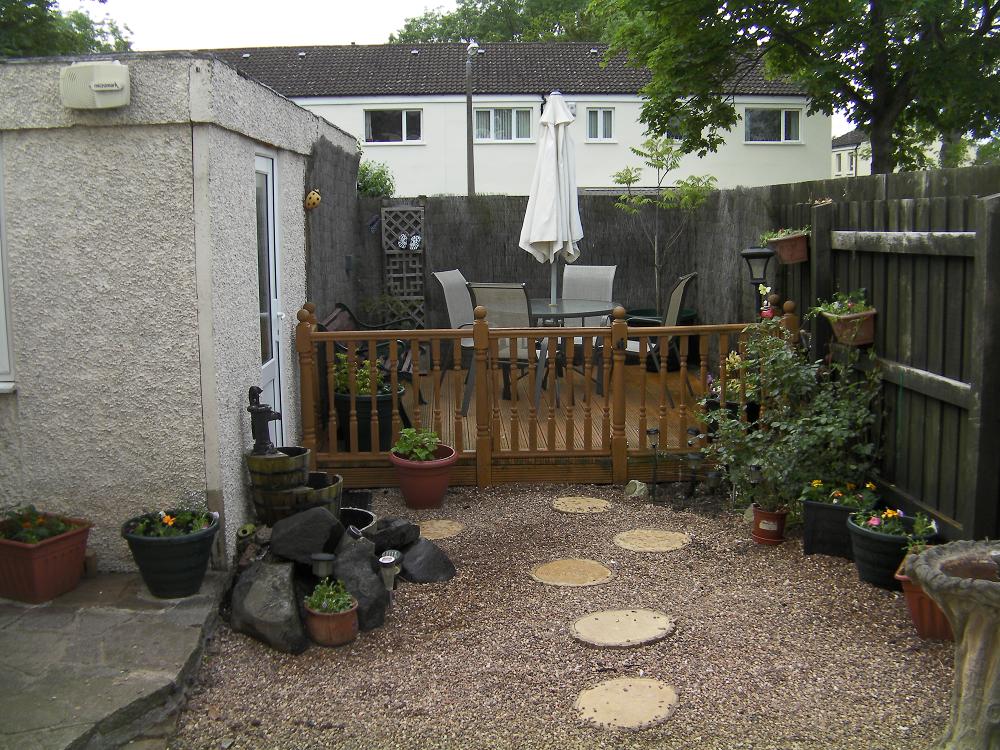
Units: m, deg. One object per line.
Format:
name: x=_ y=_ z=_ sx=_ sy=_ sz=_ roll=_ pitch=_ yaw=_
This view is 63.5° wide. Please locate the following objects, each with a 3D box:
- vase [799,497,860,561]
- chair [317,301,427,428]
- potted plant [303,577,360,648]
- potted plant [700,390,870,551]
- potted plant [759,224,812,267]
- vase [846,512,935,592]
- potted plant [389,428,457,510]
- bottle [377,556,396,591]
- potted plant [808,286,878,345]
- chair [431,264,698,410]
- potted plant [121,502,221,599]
vase: x=1.987 y=0.944 z=4.932 sx=0.389 sy=0.404 sz=0.280 roll=0 pitch=3 yaw=16
chair: x=-1.177 y=-0.064 z=7.298 sx=0.531 sy=0.596 sz=1.302 roll=-5 pitch=17 yaw=-3
potted plant: x=-0.845 y=1.205 z=4.144 sx=0.267 sy=0.309 sz=0.276 roll=-1 pitch=-2 yaw=-5
potted plant: x=1.914 y=0.513 z=5.404 sx=0.991 sy=1.101 sz=0.906 roll=0 pitch=9 yaw=21
potted plant: x=2.121 y=-0.961 z=5.993 sx=0.273 sy=0.193 sz=0.281 roll=-3 pitch=8 yaw=23
vase: x=2.164 y=0.939 z=4.485 sx=0.397 sy=0.318 sz=0.404 roll=0 pitch=3 yaw=36
potted plant: x=-0.582 y=0.708 z=6.223 sx=0.522 sy=0.630 sz=0.546 roll=0 pitch=0 yaw=-4
bottle: x=-0.646 y=1.146 z=4.680 sx=0.088 sy=0.200 sz=0.132 roll=0 pitch=11 yaw=1
potted plant: x=2.214 y=-0.363 z=5.203 sx=0.300 sy=0.321 sz=0.429 roll=-5 pitch=7 yaw=8
chair: x=0.463 y=-0.484 z=8.233 sx=2.089 sy=0.975 sz=1.152 roll=1 pitch=8 yaw=0
potted plant: x=-1.801 y=0.964 z=4.425 sx=0.455 sy=0.351 sz=0.478 roll=0 pitch=-1 yaw=-4
